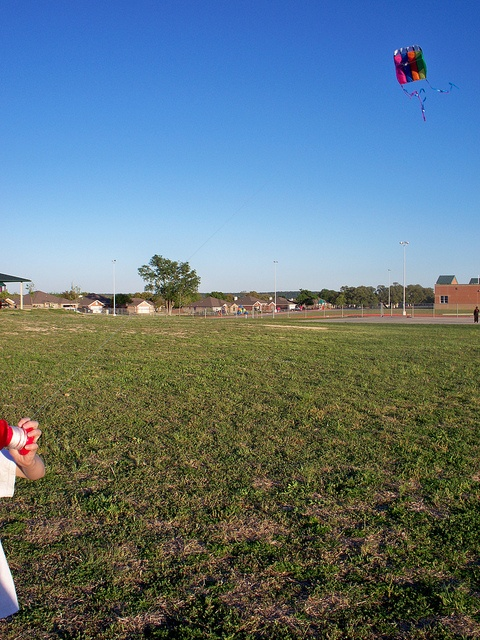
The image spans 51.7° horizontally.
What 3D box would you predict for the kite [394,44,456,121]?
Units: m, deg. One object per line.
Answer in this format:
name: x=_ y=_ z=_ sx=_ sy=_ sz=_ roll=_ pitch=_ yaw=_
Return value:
kite: x=3.116 y=-4.349 z=8.622 sx=0.833 sy=0.262 sz=0.885 roll=-43 pitch=-1 yaw=19
